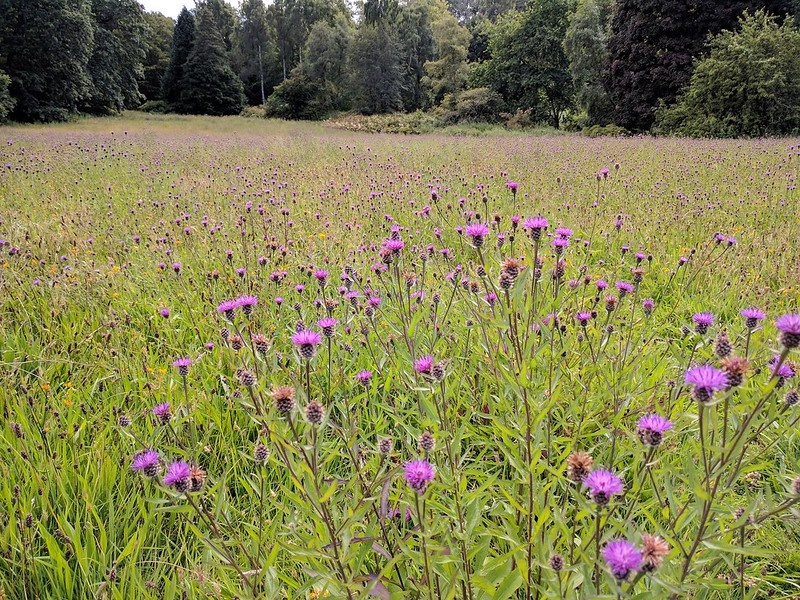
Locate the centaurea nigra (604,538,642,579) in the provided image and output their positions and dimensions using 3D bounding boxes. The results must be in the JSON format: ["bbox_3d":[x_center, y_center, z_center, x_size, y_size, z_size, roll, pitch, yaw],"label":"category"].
[{"bbox_3d":[1.147,1.317,3.236,0.158,0.192,0.175,-8,12,-6],"label":"centaurea nigra"}]

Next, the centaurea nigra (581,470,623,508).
[{"bbox_3d":[1.094,0.989,3.352,0.160,0.194,0.175,-6,12,-19],"label":"centaurea nigra"}]

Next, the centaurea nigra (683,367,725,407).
[{"bbox_3d":[1.638,0.425,3.379,0.177,0.211,0.188,-10,13,-21],"label":"centaurea nigra"}]

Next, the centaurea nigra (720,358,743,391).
[{"bbox_3d":[1.795,0.398,3.347,0.112,0.187,0.115,-13,15,-32],"label":"centaurea nigra"}]

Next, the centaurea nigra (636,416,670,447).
[{"bbox_3d":[1.396,0.686,3.419,0.151,0.184,0.164,-2,15,16],"label":"centaurea nigra"}]
